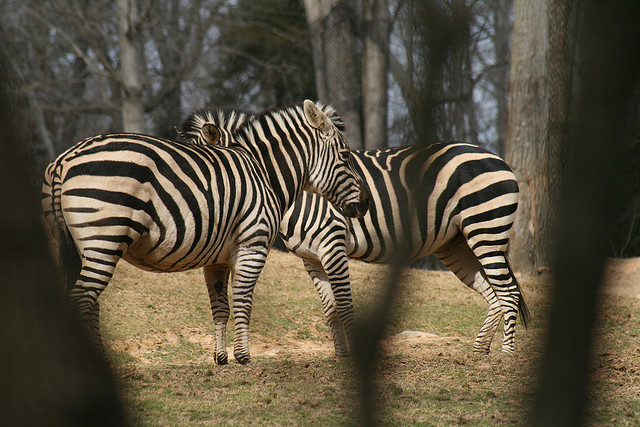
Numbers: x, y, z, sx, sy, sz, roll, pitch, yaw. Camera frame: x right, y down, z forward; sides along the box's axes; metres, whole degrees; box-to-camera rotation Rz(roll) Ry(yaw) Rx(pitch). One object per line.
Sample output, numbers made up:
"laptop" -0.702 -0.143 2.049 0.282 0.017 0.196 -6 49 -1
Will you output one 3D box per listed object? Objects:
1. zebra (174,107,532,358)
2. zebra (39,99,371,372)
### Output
"zebra" 0.434 0.256 11.968 4.631 3.234 1.303 -1 0 -4
"zebra" -1.179 0.199 10.616 4.055 2.889 1.181 -3 2 -34
